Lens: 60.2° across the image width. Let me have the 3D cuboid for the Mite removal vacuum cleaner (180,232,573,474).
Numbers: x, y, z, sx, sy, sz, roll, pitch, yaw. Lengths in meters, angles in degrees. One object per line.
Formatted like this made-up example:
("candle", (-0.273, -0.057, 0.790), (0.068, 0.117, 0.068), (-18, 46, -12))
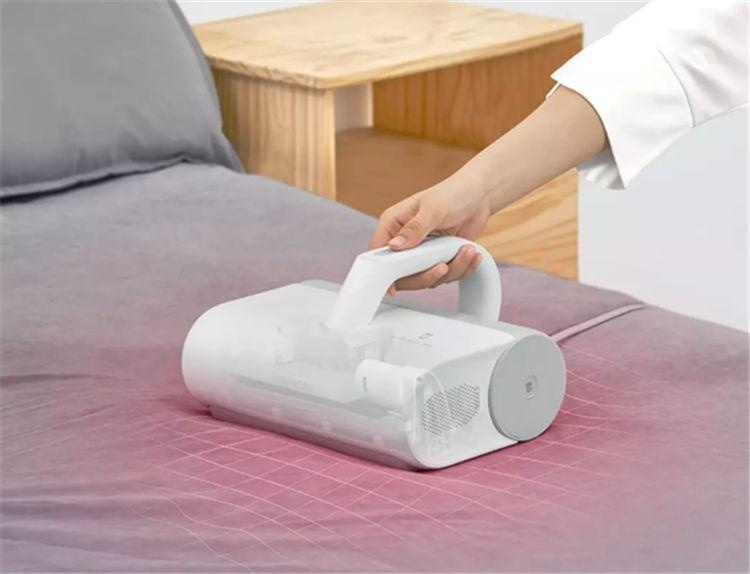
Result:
("Mite removal vacuum cleaner", (0.006, 0.056, 0.722), (0.353, 0.166, 0.317), (8, 13, 36))
